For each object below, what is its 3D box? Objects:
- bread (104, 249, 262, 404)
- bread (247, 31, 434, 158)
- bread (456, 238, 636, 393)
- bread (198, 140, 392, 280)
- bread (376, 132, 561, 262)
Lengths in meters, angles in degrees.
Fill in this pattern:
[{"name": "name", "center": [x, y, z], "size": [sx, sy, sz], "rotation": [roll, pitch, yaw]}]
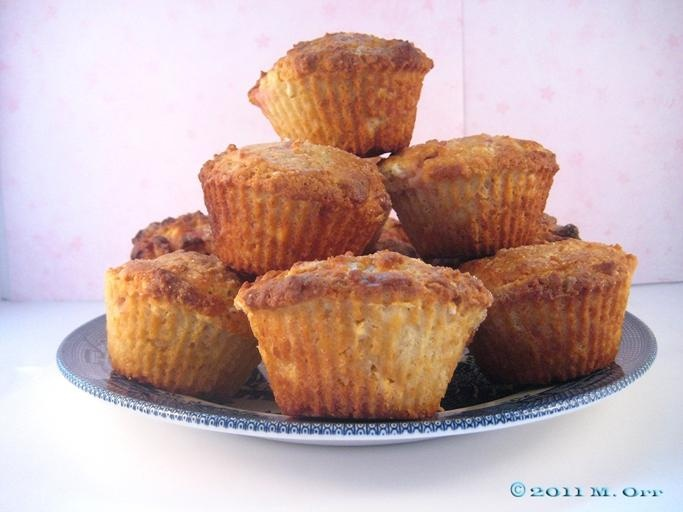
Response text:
[{"name": "bread", "center": [-0.386, 0.153, 1.953], "size": [0.355, 0.270, 0.355], "rotation": [6, -17, 27]}, {"name": "bread", "center": [0.007, -0.454, 2.184], "size": [0.520, 0.377, 0.529], "rotation": [-5, 0, -4]}, {"name": "bread", "center": [0.575, 0.118, 2.085], "size": [0.472, 0.376, 0.515], "rotation": [-14, 14, -9]}, {"name": "bread", "center": [-0.152, -0.105, 1.877], "size": [0.364, 0.245, 0.376], "rotation": [1, 2, 29]}, {"name": "bread", "center": [0.357, -0.166, 2.058], "size": [0.364, 0.304, 0.408], "rotation": [-10, -5, -15]}]
